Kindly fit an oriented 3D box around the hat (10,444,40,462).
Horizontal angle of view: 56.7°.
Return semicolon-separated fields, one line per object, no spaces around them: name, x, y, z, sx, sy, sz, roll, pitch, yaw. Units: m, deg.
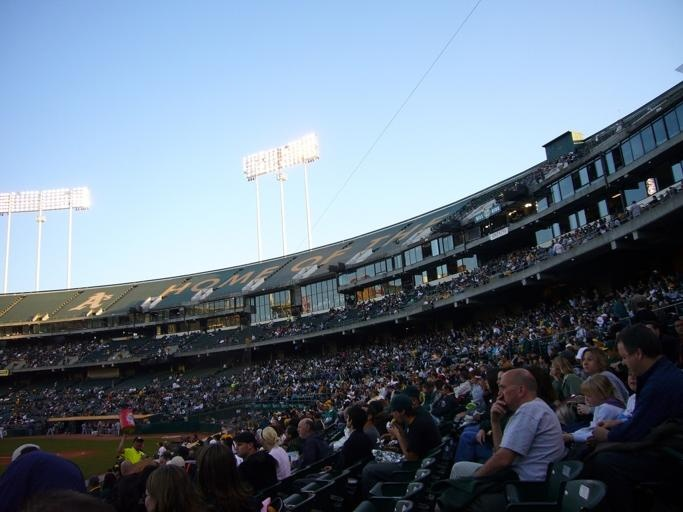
hat;-4.474;2.734;8.978;0.337;0.122;1.363;-10;-5;-28

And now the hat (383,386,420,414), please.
hat;1.157;2.677;11.725;0.521;0.378;0.947;-15;-5;15
